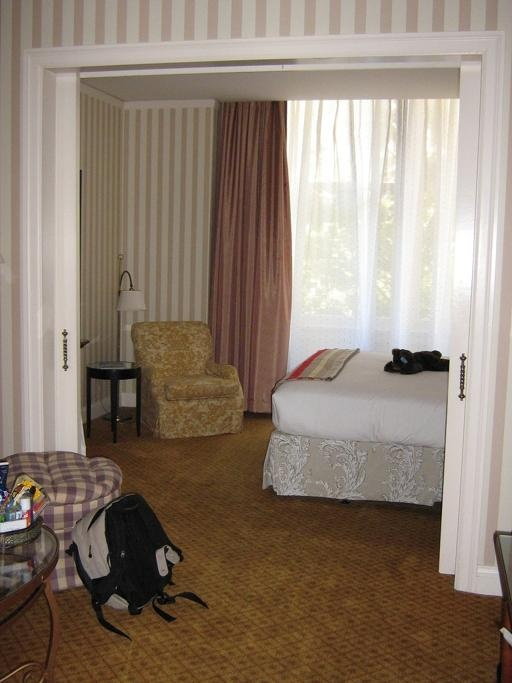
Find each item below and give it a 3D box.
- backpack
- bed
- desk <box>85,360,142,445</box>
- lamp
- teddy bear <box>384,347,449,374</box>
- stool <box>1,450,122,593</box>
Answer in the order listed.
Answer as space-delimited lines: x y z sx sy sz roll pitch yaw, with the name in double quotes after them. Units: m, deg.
-0.465 0.827 2.164 0.442 0.405 0.445 0 4 -41 "backpack"
0.601 0.511 3.344 0.857 0.400 0.871 3 15 8 "bed"
-1.269 0.534 4.730 0.484 0.687 0.492 1 3 1 "desk"
-1.198 -0.191 5.076 0.292 1.128 0.216 15 24 19 "lamp"
1.106 0.142 3.774 0.284 0.102 0.230 -2 0 -17 "teddy bear"
-0.732 0.786 2.343 0.560 0.350 0.563 -1 11 -15 "stool"
